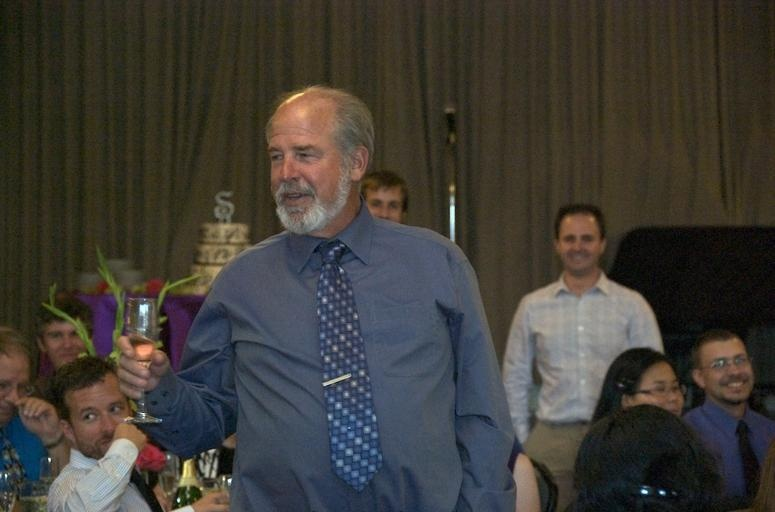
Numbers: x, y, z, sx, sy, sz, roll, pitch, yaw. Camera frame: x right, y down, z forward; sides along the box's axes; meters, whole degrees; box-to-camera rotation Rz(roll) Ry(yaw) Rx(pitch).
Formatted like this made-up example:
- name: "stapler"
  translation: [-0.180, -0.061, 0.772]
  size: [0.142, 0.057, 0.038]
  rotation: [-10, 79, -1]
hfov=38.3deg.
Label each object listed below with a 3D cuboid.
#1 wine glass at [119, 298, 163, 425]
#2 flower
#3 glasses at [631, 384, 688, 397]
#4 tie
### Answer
- name: "wine glass"
  translation: [-0.963, 0.414, 4.450]
  size: [0.128, 0.507, 0.221]
  rotation: [-2, -4, -12]
- name: "flower"
  translation: [-1.251, 0.277, 5.202]
  size: [0.716, 0.924, 0.864]
  rotation: [4, 8, 15]
- name: "glasses"
  translation: [1.299, 0.635, 5.265]
  size: [0.286, 0.066, 0.091]
  rotation: [0, -6, -29]
- name: "tie"
  translation: [-0.167, 0.448, 4.436]
  size: [0.176, 0.987, 0.081]
  rotation: [-6, -11, 1]
